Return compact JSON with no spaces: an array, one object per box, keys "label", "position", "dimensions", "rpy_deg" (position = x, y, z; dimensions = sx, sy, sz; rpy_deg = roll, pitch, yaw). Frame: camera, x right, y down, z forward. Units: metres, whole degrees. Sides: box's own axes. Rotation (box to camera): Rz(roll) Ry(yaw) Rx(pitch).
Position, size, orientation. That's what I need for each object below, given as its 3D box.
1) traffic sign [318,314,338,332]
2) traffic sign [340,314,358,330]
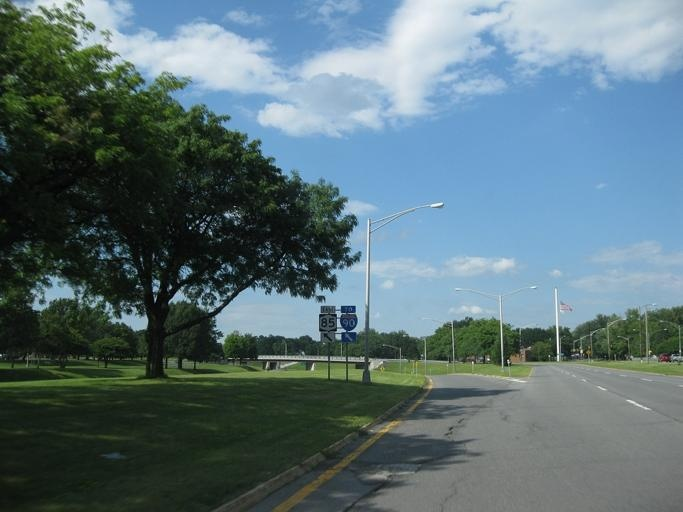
[{"label":"traffic sign","position":[-0.640,3.572,34.158],"dimensions":[0.940,0.968,0.456],"rpy_deg":[3,-6,-17]},{"label":"traffic sign","position":[0.440,3.650,35.145],"dimensions":[0.943,0.959,0.672],"rpy_deg":[0,-6,8]}]
